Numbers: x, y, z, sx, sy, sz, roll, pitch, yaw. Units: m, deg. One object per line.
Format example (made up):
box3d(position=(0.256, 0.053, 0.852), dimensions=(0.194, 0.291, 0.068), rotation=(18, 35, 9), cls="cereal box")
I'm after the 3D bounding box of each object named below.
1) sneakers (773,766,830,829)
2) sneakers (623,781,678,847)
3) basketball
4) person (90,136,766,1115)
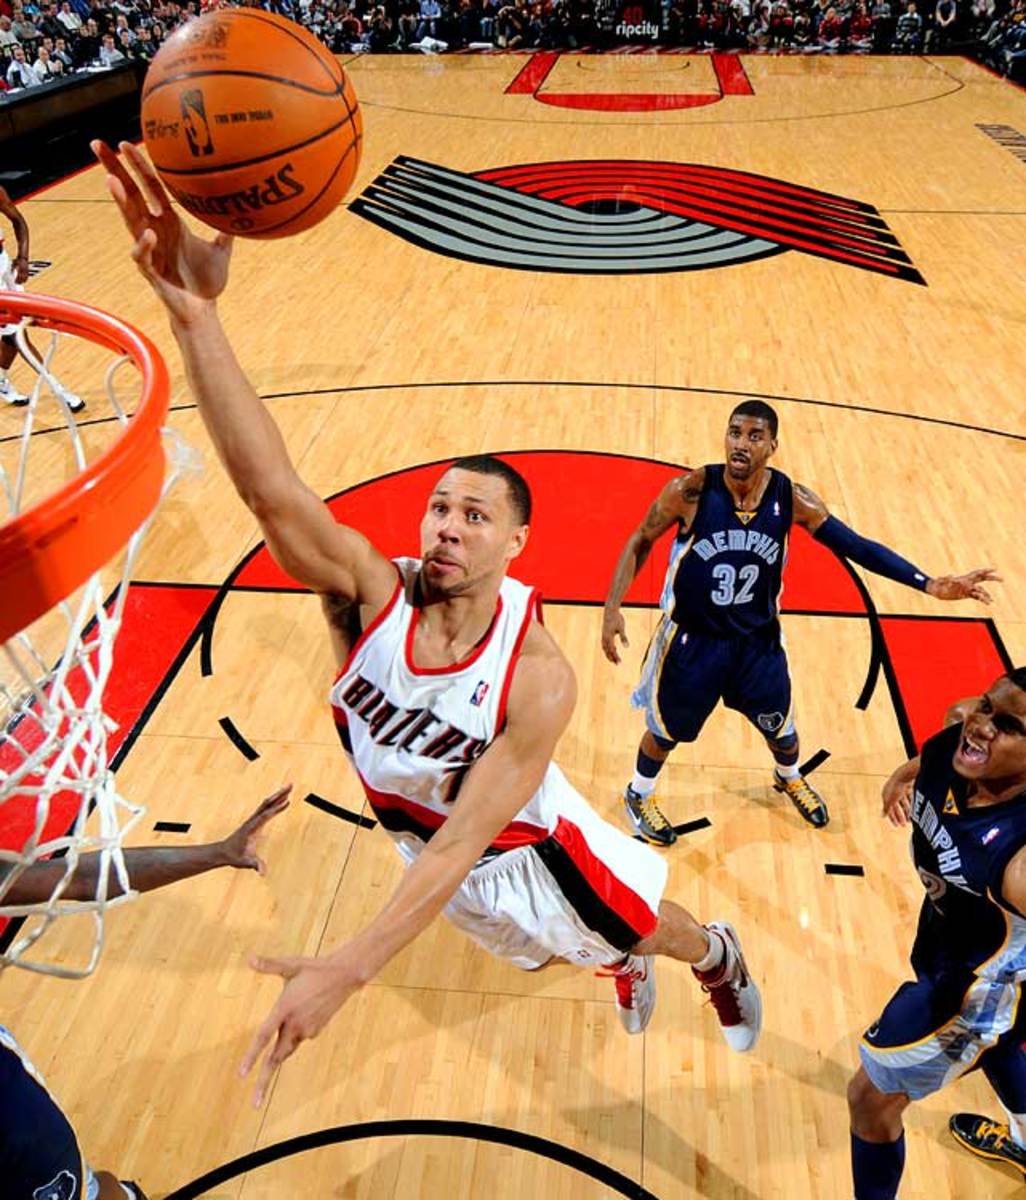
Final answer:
box3d(position=(1.019, 0.722, 3.211), dimensions=(0.099, 0.115, 0.264), rotation=(-41, 71, -4), cls="sneakers")
box3d(position=(0.457, 0.766, 3.145), dimensions=(0.107, 0.111, 0.264), rotation=(-23, 48, -30), cls="sneakers")
box3d(position=(-0.428, -0.779, 1.472), dimensions=(0.345, 0.313, 0.251), rotation=(-9, 43, -17), cls="basketball")
box3d(position=(0.013, 0.338, 1.866), dimensions=(1.088, 2.280, 0.871), rotation=(-14, 45, -22), cls="person")
